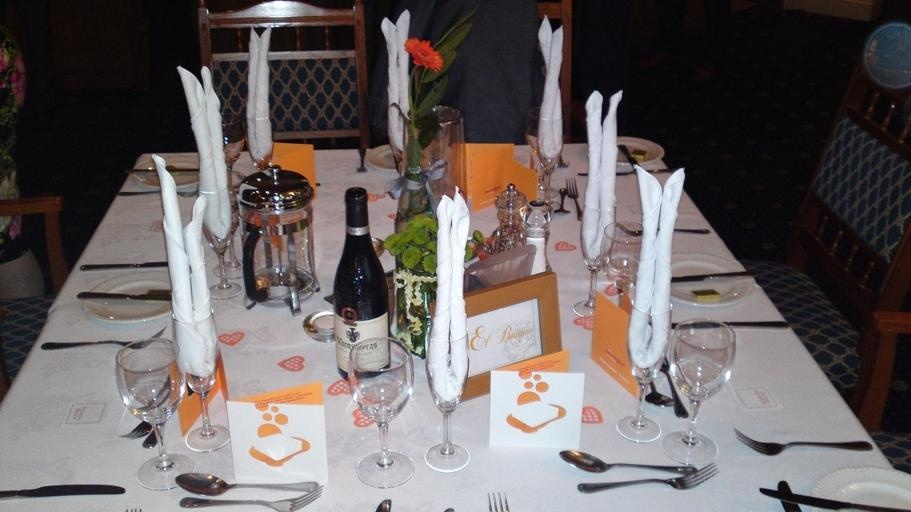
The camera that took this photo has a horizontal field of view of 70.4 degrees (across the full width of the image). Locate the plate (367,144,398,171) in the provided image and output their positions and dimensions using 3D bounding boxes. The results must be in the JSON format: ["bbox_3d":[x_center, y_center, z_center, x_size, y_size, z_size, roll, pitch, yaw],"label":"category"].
[{"bbox_3d":[-0.309,-0.414,2.738,0.150,0.024,0.150,32,49,27],"label":"plate"}]

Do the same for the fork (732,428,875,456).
[{"bbox_3d":[0.900,0.490,1.679,0.313,0.043,0.042,1,17,4],"label":"fork"}]

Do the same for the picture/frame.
[{"bbox_3d":[0.097,0.218,1.691,0.355,0.235,0.027,-9,9,-25],"label":"picture/frame"}]

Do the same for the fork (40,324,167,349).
[{"bbox_3d":[-1.029,0.239,1.890,0.310,0.041,0.041,2,38,-11],"label":"fork"}]

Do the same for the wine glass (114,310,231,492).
[{"bbox_3d":[-0.751,0.374,1.627,0.232,0.350,0.242,7,28,13],"label":"wine glass"}]
